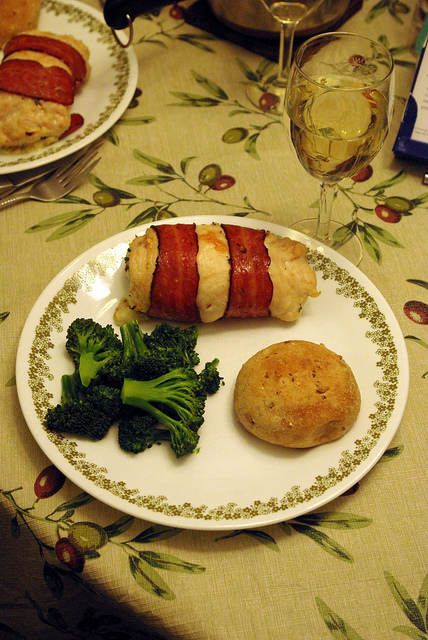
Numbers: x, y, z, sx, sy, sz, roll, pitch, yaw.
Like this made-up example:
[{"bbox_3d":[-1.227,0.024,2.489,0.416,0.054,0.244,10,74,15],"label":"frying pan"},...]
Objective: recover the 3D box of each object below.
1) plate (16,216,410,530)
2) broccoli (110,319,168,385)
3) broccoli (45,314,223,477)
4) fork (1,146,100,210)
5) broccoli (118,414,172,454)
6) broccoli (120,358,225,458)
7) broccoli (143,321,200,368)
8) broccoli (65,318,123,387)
[{"bbox_3d":[-0.002,0.042,0.864,0.590,0.139,0.541,-1,64,1],"label":"plate"},{"bbox_3d":[-0.115,0.058,0.850,0.070,0.045,0.097,-10,43,-13],"label":"broccoli"},{"bbox_3d":[-0.117,0.122,0.840,0.231,0.070,0.221,-20,54,-27],"label":"broccoli"},{"bbox_3d":[-0.351,-0.294,1.175,0.254,0.034,0.033,-27,78,-15],"label":"fork"},{"bbox_3d":[-0.104,0.158,0.795,0.069,0.047,0.058,-24,66,-9],"label":"broccoli"},{"bbox_3d":[-0.054,0.131,0.807,0.152,0.085,0.134,-2,38,-16],"label":"broccoli"},{"bbox_3d":[-0.061,0.038,0.885,0.076,0.030,0.074,9,49,23],"label":"broccoli"},{"bbox_3d":[-0.200,0.061,0.893,0.086,0.057,0.099,26,50,4],"label":"broccoli"}]
